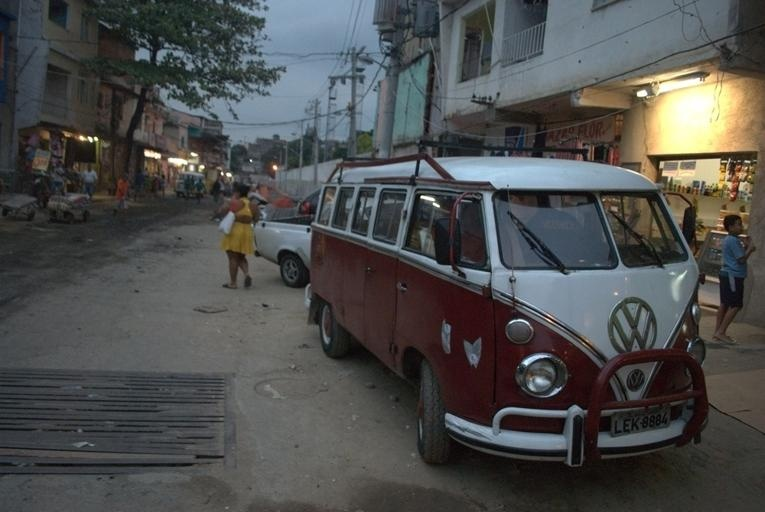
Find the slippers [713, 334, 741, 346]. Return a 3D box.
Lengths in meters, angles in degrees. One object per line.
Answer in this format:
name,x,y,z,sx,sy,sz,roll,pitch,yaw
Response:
slippers,5.483,1.336,9.426,0.339,0.128,0.144,3,17,-10

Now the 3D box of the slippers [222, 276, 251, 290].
slippers,-3.010,0.509,12.036,0.240,0.346,0.785,-2,7,-42

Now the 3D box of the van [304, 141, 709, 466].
van,1.013,0.288,7.300,2.362,2.351,4.710,-1,8,-21

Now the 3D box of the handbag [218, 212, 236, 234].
handbag,-3.065,-0.637,11.535,0.259,0.459,0.283,6,13,12

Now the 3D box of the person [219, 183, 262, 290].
person,-2.894,-0.397,11.972,0.726,2.004,0.882,0,1,-29

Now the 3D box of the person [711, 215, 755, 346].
person,5.569,0.348,9.409,0.668,2.027,0.587,0,2,32

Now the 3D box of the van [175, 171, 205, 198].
van,-13.621,-4.878,41.718,1.717,1.719,3.430,3,13,-10
